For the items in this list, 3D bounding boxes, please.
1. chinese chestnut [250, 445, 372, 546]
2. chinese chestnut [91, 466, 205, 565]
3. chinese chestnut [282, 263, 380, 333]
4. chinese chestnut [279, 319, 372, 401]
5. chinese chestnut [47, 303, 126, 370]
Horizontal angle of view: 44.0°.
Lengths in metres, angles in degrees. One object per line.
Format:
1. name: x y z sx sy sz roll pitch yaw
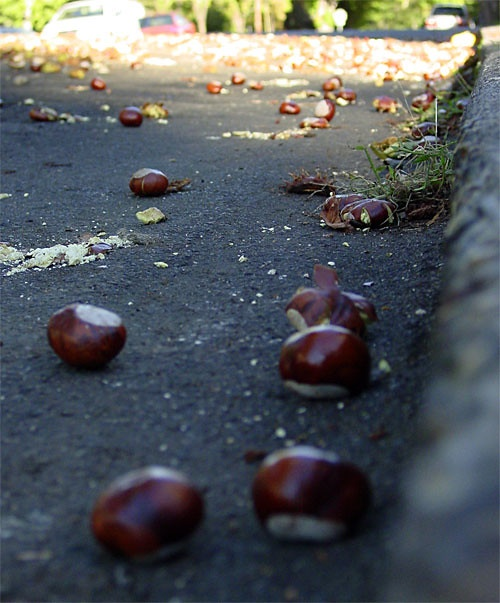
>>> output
1. chinese chestnut: 0.092 0.306 1.110 0.206 0.087 0.185 2 -2 -23
2. chinese chestnut: -0.163 0.354 1.048 0.209 0.107 0.146 -8 25 -16
3. chinese chestnut: 0.191 0.006 1.412 0.235 0.070 0.198 1 35 -3
4. chinese chestnut: 0.167 0.134 1.301 0.204 0.195 0.124 -3 27 -4
5. chinese chestnut: -0.395 0.095 1.501 0.218 0.122 0.182 -1 10 13
